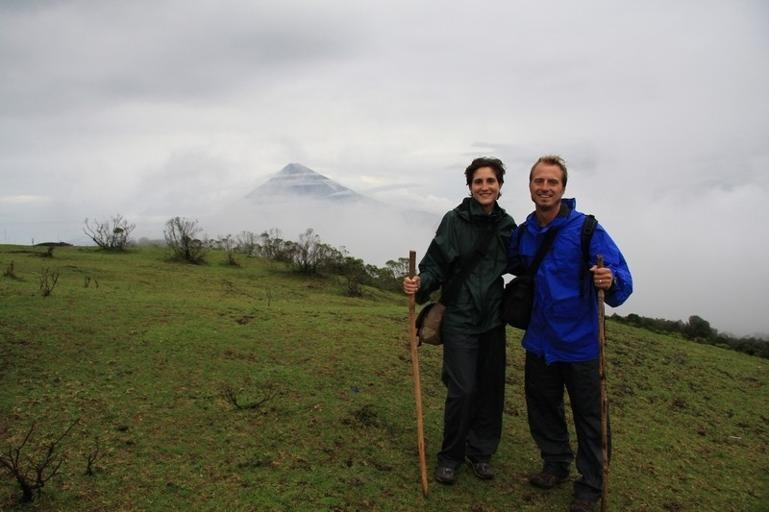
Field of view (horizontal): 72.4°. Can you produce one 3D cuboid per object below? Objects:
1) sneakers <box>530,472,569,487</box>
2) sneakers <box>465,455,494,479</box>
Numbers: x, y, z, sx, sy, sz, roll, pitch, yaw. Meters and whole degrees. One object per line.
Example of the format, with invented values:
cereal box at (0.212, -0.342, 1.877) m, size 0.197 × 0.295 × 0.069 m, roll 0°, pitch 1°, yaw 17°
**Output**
sneakers at (2.429, 3.299, 7.775) m, size 0.438 × 0.145 × 0.247 m, roll -1°, pitch 8°, yaw -8°
sneakers at (1.417, 3.148, 7.849) m, size 0.222 × 0.185 × 0.443 m, roll -1°, pitch 3°, yaw -28°
